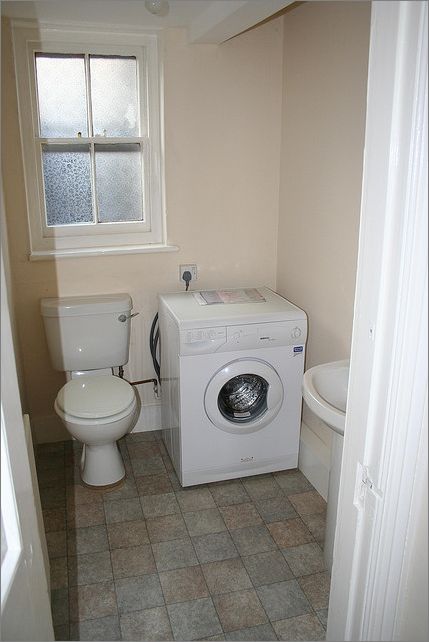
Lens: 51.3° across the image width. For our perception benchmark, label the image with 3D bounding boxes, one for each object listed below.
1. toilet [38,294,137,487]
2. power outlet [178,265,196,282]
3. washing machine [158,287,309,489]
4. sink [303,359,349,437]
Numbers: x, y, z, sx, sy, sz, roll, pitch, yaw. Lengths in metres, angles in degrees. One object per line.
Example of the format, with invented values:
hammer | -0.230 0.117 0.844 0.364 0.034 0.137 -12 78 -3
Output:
toilet | -0.660 0.387 2.411 0.448 0.903 0.677 -4 21 -18
power outlet | -0.150 -0.301 2.669 0.128 0.146 0.072 -3 9 -25
washing machine | 0.080 0.298 2.506 0.729 0.994 0.730 -12 26 -26
sink | 0.420 0.267 1.648 0.155 0.194 0.258 -4 22 -10
